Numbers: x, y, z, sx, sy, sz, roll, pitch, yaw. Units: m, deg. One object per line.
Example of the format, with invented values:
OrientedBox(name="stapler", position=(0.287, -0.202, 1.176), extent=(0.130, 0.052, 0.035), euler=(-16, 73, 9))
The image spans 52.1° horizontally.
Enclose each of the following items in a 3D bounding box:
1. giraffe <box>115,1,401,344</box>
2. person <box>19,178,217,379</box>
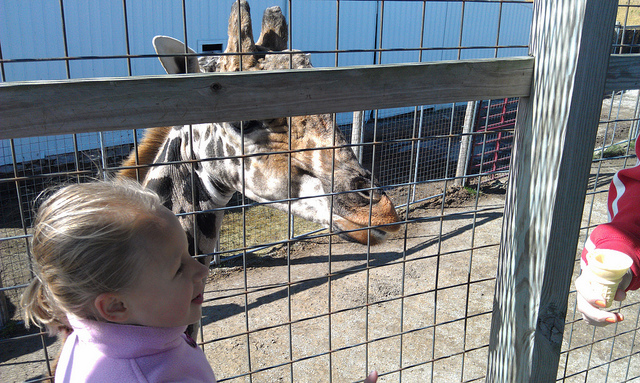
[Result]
OrientedBox(name="giraffe", position=(-0.639, -0.317, 6.087), extent=(2.014, 2.905, 1.941), euler=(-15, 16, -29))
OrientedBox(name="person", position=(-1.253, 0.497, 4.522), extent=(1.186, 1.260, 1.480), euler=(-10, 16, -12))
